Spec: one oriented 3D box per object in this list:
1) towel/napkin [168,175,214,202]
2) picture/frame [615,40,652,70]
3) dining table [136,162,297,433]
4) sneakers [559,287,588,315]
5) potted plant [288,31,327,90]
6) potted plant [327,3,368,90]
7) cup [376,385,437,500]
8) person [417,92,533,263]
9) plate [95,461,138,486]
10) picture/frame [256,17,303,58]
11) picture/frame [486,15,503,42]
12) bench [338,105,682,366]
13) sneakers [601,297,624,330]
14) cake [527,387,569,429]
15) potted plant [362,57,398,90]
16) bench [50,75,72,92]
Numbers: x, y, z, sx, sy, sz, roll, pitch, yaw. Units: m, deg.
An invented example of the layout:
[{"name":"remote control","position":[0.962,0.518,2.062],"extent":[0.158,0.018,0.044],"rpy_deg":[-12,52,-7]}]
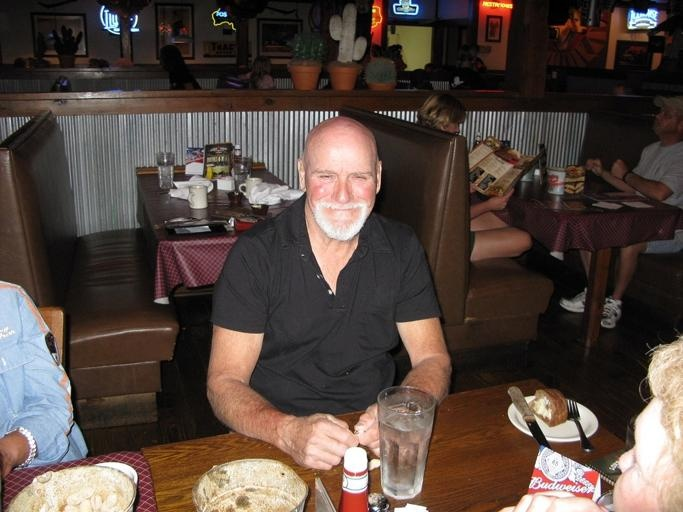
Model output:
[{"name":"towel/napkin","position":[-1.007,-0.464,3.352],"extent":[0.227,0.087,0.228],"rpy_deg":[7,23,37]},{"name":"picture/frame","position":[7.597,-5.224,13.106],"extent":[1.042,0.706,0.199],"rpy_deg":[-5,20,-13]},{"name":"dining table","position":[-0.587,0.198,2.230],"extent":[0.624,0.678,1.384],"rpy_deg":[-5,25,-12]},{"name":"sneakers","position":[1.738,0.356,3.905],"extent":[0.316,0.199,0.119],"rpy_deg":[4,13,6]},{"name":"potted plant","position":[-0.286,-1.678,4.356],"extent":[0.329,0.432,0.309],"rpy_deg":[15,25,18]},{"name":"potted plant","position":[0.048,-1.774,4.309],"extent":[0.325,0.691,0.244],"rpy_deg":[-1,20,-1]},{"name":"cup","position":[0.139,0.404,1.113],"extent":[0.124,0.192,0.161],"rpy_deg":[3,19,9]},{"name":"person","position":[0.886,-0.563,3.584],"extent":[0.842,1.148,0.852],"rpy_deg":[-20,26,-29]},{"name":"plate","position":[-0.433,0.421,0.974],"extent":[0.072,0.016,0.072],"rpy_deg":[12,6,31]},{"name":"picture/frame","position":[-1.432,-5.081,11.813],"extent":[1.068,0.838,0.046],"rpy_deg":[-8,40,-21]},{"name":"picture/frame","position":[3.578,-5.312,11.814],"extent":[0.482,0.583,0.081],"rpy_deg":[-11,22,-27]},{"name":"bench","position":[1.068,-0.153,3.542],"extent":[1.734,1.290,1.661],"rpy_deg":[-7,25,-14]},{"name":"sneakers","position":[1.967,0.416,3.706],"extent":[0.343,0.146,0.128],"rpy_deg":[-15,22,-41]},{"name":"cake","position":[0.560,0.398,1.352],"extent":[0.066,0.074,0.109],"rpy_deg":[2,8,-17]},{"name":"potted plant","position":[0.350,-1.645,4.614],"extent":[0.334,0.300,0.319],"rpy_deg":[-2,12,-5]},{"name":"bench","position":[-3.534,-2.189,6.362],"extent":[0.188,0.199,1.449],"rpy_deg":[-10,20,-27]}]
